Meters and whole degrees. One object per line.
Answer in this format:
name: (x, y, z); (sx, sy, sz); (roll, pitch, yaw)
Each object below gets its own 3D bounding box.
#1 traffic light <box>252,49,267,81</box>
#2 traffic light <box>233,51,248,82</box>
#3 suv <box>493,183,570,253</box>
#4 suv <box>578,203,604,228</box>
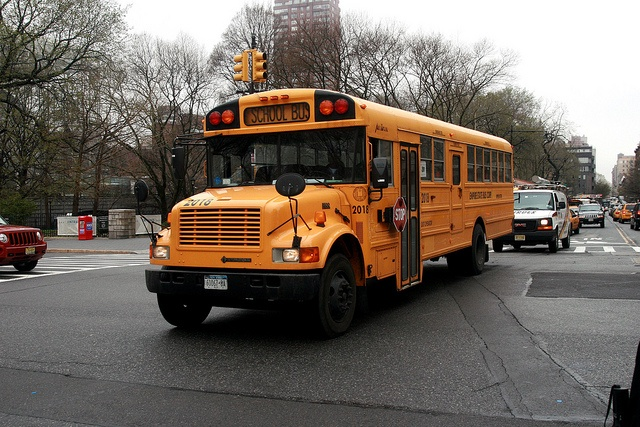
traffic light: (-2.229, -5.458, 18.370); (0.523, 1.228, 0.851); (-2, 2, -9)
traffic light: (-2.908, -5.448, 18.549); (0.502, 1.144, 0.996); (-3, 3, -26)
suv: (9.221, 0.194, 21.154); (2.309, 1.979, 4.246); (-3, -5, 29)
suv: (24.882, 0.219, 45.995); (1.911, 1.960, 2.961); (0, 3, 28)
